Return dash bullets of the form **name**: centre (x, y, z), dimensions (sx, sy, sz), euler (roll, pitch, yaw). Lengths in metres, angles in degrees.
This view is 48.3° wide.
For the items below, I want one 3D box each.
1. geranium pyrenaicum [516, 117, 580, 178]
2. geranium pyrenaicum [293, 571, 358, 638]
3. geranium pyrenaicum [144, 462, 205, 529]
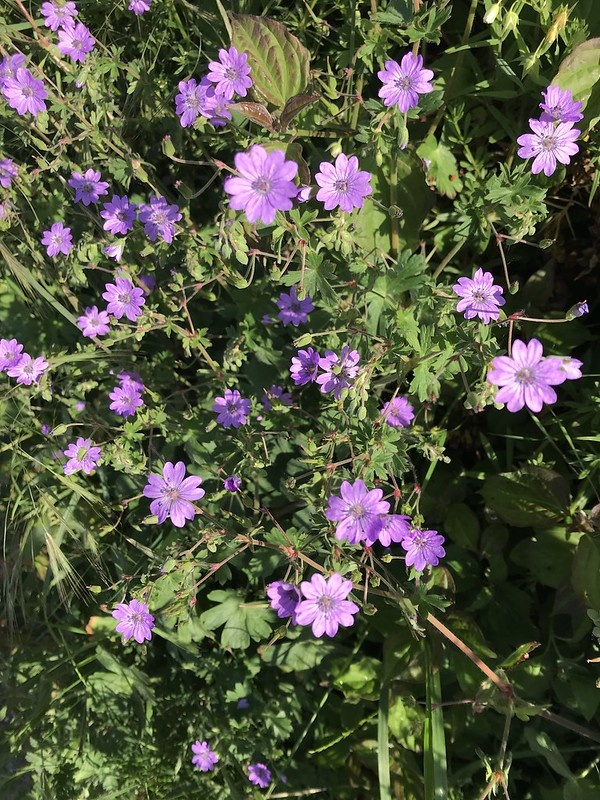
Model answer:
- **geranium pyrenaicum**: centre (0.593, -0.612, 1.607), dimensions (0.146, 0.047, 0.156), euler (5, 104, -13)
- **geranium pyrenaicum**: centre (0.065, 0.471, 1.546), dimensions (0.131, 0.157, 0.149), euler (10, 82, 4)
- **geranium pyrenaicum**: centre (-0.302, 0.236, 1.757), dimensions (0.167, 0.049, 0.165), euler (-35, 84, 14)
